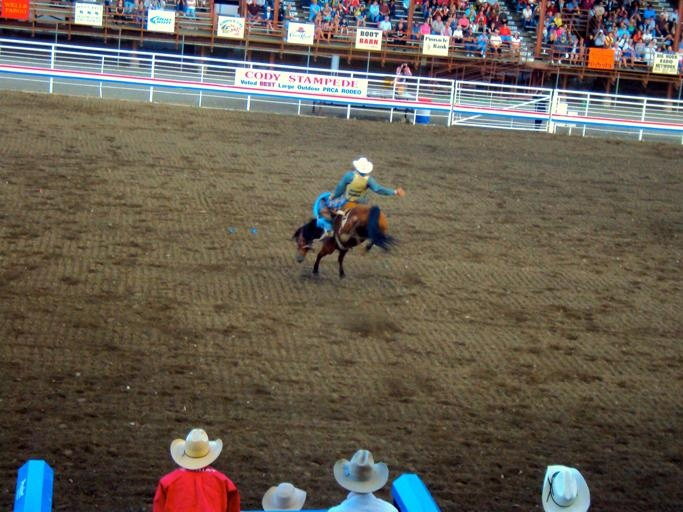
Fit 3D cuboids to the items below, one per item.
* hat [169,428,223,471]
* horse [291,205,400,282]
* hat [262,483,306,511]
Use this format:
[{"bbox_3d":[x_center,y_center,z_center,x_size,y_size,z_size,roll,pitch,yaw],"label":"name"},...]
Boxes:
[{"bbox_3d":[-1.825,2.401,11.377,0.537,0.231,0.580,11,37,15],"label":"hat"},{"bbox_3d":[0.152,-0.309,18.236,1.087,1.546,2.410,-2,10,-38],"label":"horse"},{"bbox_3d":[-0.722,2.993,11.461,0.497,0.333,0.304,3,9,-8],"label":"hat"}]
